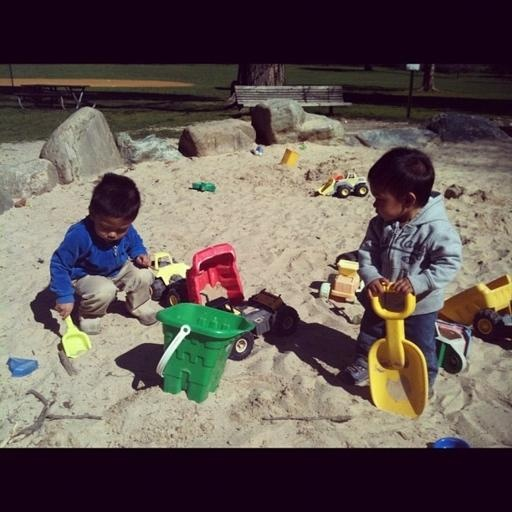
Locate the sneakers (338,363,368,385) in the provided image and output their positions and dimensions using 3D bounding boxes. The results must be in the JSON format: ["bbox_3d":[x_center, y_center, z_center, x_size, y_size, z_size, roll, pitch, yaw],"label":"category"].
[{"bbox_3d":[0.549,0.670,2.618,0.224,0.081,0.076,6,27,23],"label":"sneakers"}]

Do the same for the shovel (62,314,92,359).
[{"bbox_3d":[-1.125,0.511,2.860,0.142,0.049,0.316,-17,54,-30],"label":"shovel"}]

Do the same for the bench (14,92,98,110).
[{"bbox_3d":[-5.344,-4.166,12.349,1.873,0.410,2.697,-10,23,-23],"label":"bench"}]

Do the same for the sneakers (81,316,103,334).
[{"bbox_3d":[-1.083,0.455,3.038,0.105,0.118,0.111,-2,24,-5],"label":"sneakers"}]

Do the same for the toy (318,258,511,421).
[{"bbox_3d":[0.967,0.220,3.069,0.526,0.724,1.929,11,28,37],"label":"toy"}]

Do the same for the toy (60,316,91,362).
[{"bbox_3d":[-1.137,0.486,2.854,0.155,0.223,0.198,-19,29,-34],"label":"toy"}]

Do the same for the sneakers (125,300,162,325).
[{"bbox_3d":[-0.770,0.385,3.127,0.197,0.071,0.109,25,45,10],"label":"sneakers"}]

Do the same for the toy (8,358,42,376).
[{"bbox_3d":[-1.373,0.640,2.731,0.157,0.051,0.183,-14,25,-30],"label":"toy"}]

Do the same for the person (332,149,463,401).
[{"bbox_3d":[0.774,0.100,2.442,0.514,1.315,0.507,7,26,16],"label":"person"}]

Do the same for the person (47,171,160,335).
[{"bbox_3d":[-0.953,-0.021,2.950,0.667,0.929,0.769,18,24,25],"label":"person"}]

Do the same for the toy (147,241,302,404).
[{"bbox_3d":[-0.252,0.363,2.756,0.625,0.663,1.147,24,24,14],"label":"toy"}]
